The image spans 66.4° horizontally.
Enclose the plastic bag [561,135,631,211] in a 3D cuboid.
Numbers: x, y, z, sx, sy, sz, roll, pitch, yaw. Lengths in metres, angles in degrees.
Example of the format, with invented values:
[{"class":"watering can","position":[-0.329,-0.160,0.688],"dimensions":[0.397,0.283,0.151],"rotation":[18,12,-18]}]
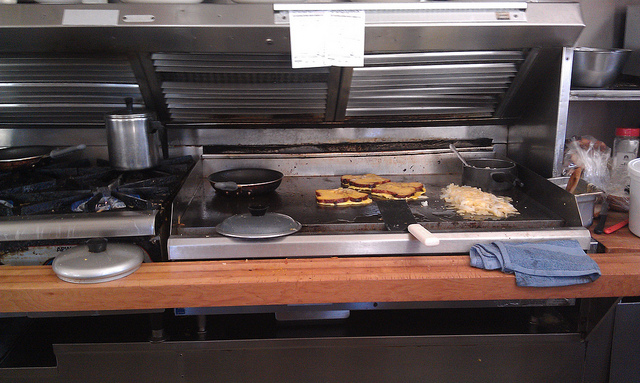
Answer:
[{"class":"plastic bag","position":[1.734,-0.138,3.091],"dimensions":[0.398,0.339,0.650],"rotation":[9,23,23]}]

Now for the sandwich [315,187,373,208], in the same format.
[{"class":"sandwich","position":[0.142,0.033,2.912],"dimensions":[0.327,0.053,0.204],"rotation":[-2,20,-3]}]

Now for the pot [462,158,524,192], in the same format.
[{"class":"pot","position":[1.058,-0.094,3.008],"dimensions":[0.393,0.128,0.291],"rotation":[1,15,-15]}]

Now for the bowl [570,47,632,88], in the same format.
[{"class":"bowl","position":[1.660,-0.736,2.949],"dimensions":[0.326,0.121,0.312],"rotation":[-1,9,0]}]

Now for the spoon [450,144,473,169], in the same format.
[{"class":"spoon","position":[0.896,-0.218,3.117],"dimensions":[0.042,0.046,0.227],"rotation":[-14,53,-32]}]

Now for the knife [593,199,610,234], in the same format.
[{"class":"knife","position":[1.625,0.135,2.793],"dimensions":[0.066,0.018,0.383],"rotation":[3,28,42]}]

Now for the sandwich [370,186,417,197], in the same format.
[{"class":"sandwich","position":[0.435,-0.004,2.958],"dimensions":[0.293,0.035,0.132],"rotation":[3,20,12]}]
